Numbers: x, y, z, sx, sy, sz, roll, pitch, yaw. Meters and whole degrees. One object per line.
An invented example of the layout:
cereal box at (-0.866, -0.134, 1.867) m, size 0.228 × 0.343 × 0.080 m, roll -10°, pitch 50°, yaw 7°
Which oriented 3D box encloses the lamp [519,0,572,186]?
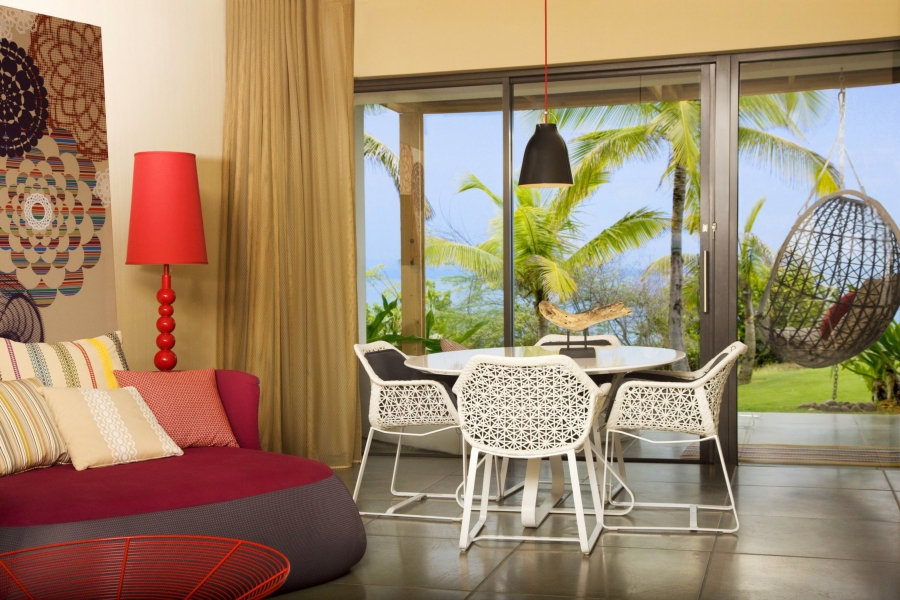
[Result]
lamp at (0.690, -1.568, 4.892) m, size 0.350 × 1.519 × 1.029 m, roll 0°, pitch 4°, yaw 7°

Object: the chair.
chair at (0.626, 0.781, 4.154) m, size 2.276 × 1.086 × 1.451 m, roll -1°, pitch 3°, yaw -9°
